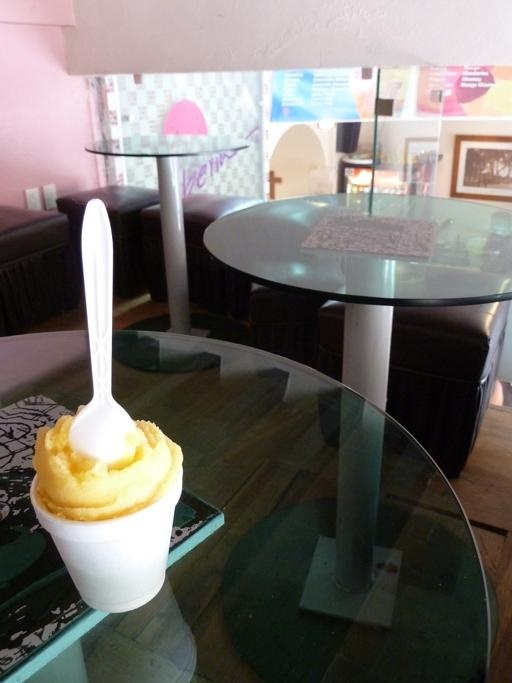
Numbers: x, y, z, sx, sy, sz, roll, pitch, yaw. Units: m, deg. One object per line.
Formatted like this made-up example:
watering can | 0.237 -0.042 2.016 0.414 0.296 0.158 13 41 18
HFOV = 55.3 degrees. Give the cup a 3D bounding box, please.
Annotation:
cup | -0.080 0.123 0.338 0.096 0.078 0.096 -1 29 0

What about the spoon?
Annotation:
spoon | -0.107 -0.022 0.315 0.037 0.139 0.148 -7 23 -15
